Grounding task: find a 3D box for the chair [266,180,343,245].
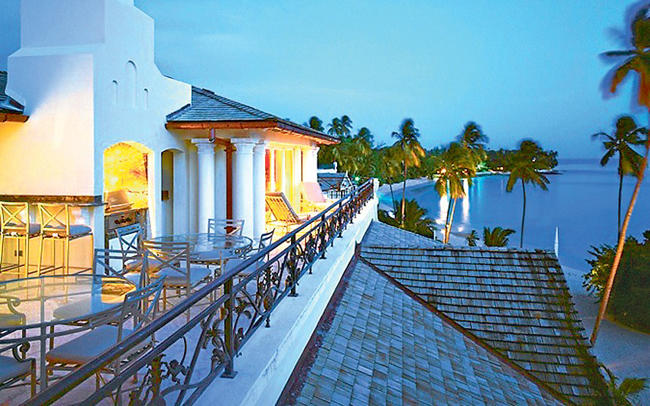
[{"bbox_3d":[-1.098,0.132,17.318,1.370,1.290,3.486,3,15,28],"label":"chair"}]
